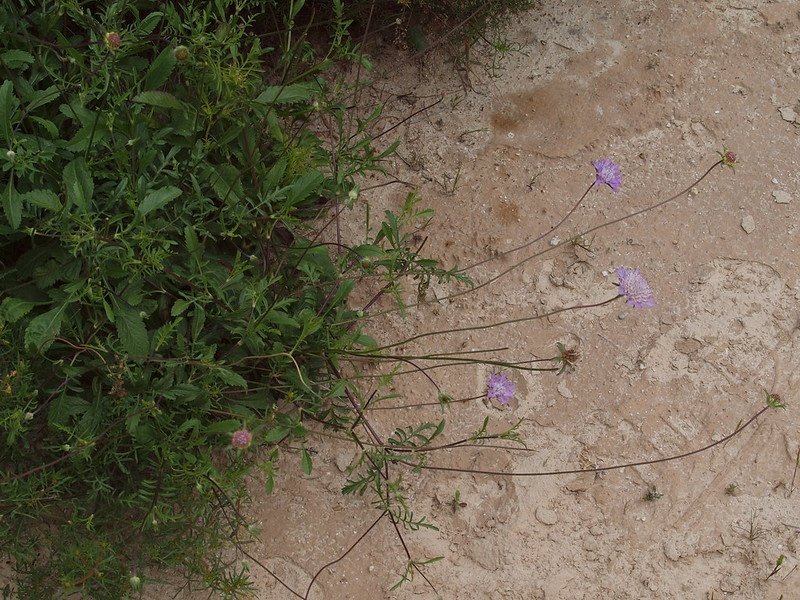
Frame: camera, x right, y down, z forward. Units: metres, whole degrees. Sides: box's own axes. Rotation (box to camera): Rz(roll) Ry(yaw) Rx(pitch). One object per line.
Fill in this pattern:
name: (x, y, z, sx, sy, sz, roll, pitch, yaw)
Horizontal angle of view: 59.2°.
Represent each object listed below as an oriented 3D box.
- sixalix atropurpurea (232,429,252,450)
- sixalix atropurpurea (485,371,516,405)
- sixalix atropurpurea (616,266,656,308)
sixalix atropurpurea: (-0.552, 0.491, 2.452, 0.060, 0.029, 0.065, -34, 86, 3)
sixalix atropurpurea: (0.470, 0.428, 3.397, 0.152, 0.056, 0.179, -2, 76, -9)
sixalix atropurpurea: (0.977, -0.019, 2.960, 0.169, 0.073, 0.179, 26, 39, -23)
